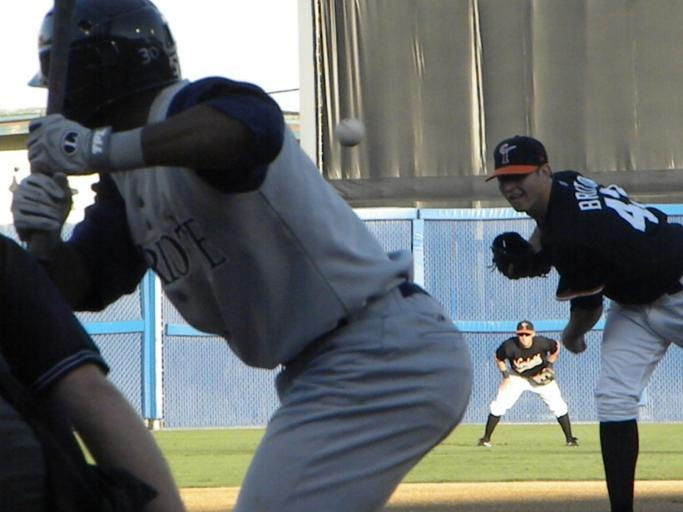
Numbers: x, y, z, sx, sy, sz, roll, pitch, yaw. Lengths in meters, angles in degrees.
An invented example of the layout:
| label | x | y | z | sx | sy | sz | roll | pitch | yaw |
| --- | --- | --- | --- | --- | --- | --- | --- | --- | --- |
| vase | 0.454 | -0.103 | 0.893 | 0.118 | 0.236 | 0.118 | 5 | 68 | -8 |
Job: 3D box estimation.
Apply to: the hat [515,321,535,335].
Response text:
| label | x | y | z | sx | sy | sz | roll | pitch | yaw |
| --- | --- | --- | --- | --- | --- | --- | --- | --- | --- |
| hat | 1.583 | 0.606 | 10.356 | 0.141 | 0.109 | 0.237 | -4 | -7 | 11 |

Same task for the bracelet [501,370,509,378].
| label | x | y | z | sx | sy | sz | roll | pitch | yaw |
| --- | --- | --- | --- | --- | --- | --- | --- | --- | --- |
| bracelet | 1.395 | 1.002 | 10.342 | 0.064 | 0.071 | 0.067 | 2 | 2 | 25 |

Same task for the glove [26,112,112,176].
| label | x | y | z | sx | sy | sz | roll | pitch | yaw |
| --- | --- | --- | --- | --- | --- | --- | --- | --- | --- |
| glove | -1.020 | -0.404 | 4.442 | 0.378 | 0.234 | 0.145 | 7 | 14 | 37 |

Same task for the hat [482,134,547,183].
| label | x | y | z | sx | sy | sz | roll | pitch | yaw |
| --- | --- | --- | --- | --- | --- | --- | --- | --- | --- |
| hat | 0.947 | -0.551 | 6.514 | 0.296 | 0.245 | 0.413 | -7 | 5 | 29 |

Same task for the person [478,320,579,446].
| label | x | y | z | sx | sy | sz | roll | pitch | yaw |
| --- | --- | --- | --- | --- | --- | --- | --- | --- | --- |
| person | 1.594 | 1.043 | 10.309 | 0.940 | 1.142 | 0.614 | -4 | -14 | 15 |
